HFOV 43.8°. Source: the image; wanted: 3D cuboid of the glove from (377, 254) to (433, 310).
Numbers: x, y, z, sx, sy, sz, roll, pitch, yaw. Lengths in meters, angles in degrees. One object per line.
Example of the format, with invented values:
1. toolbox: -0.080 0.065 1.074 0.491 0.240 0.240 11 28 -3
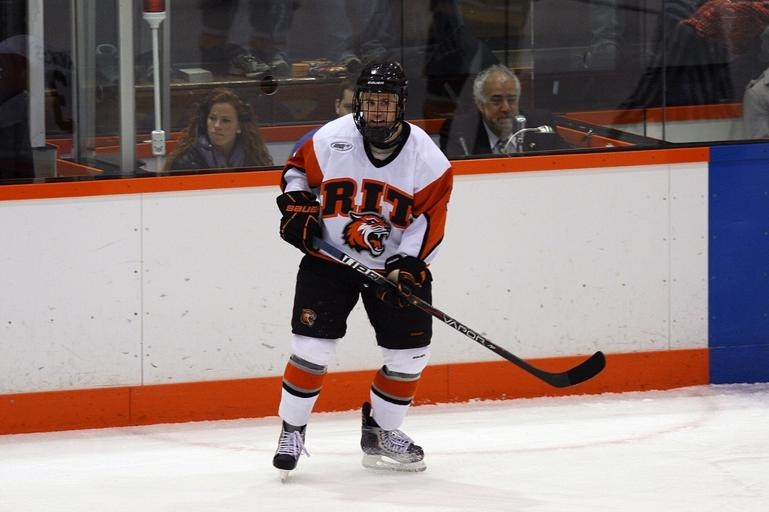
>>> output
1. glove: 0.094 0.102 4.011 0.235 0.225 0.190 2 10 -6

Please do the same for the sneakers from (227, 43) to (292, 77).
1. sneakers: -0.544 -0.922 4.501 0.348 0.145 0.117 -1 29 -1

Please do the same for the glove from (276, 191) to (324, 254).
1. glove: -0.343 -0.139 3.947 0.248 0.220 0.092 -2 -4 -7

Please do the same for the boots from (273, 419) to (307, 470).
1. boots: -0.398 0.801 4.056 0.099 0.096 0.256 11 15 -1

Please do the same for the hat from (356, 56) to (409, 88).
1. hat: -0.008 -0.746 3.952 0.196 0.121 0.127 3 9 -1

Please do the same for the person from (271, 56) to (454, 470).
1. person: -0.096 0.061 4.053 0.726 1.754 0.331 2 10 -7
